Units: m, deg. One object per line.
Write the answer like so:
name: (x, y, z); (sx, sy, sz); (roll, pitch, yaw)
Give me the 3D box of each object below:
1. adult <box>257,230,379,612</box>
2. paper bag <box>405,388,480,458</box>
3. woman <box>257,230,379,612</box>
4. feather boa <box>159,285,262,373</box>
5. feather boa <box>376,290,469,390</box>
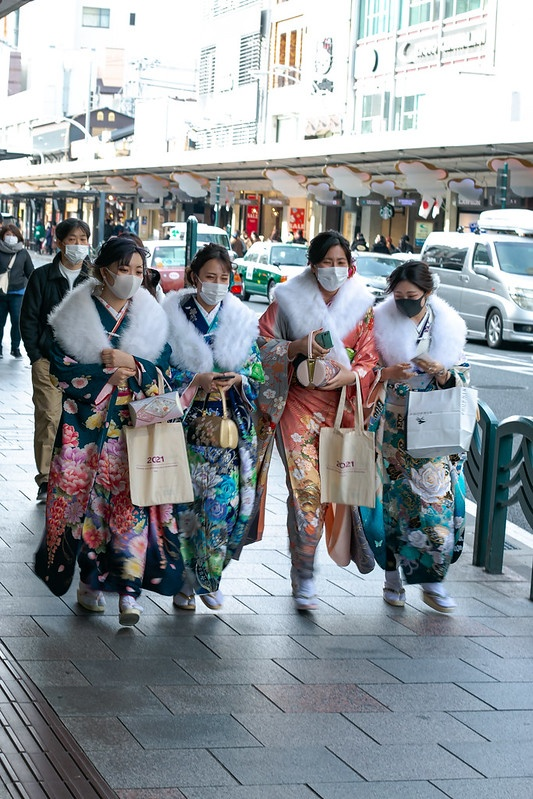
adult: (0.195, 0.093, 3.143); (0.561, 1.811, 0.379); (2, -7, 34)
paper bag: (0.808, 0.105, 3.000); (0.335, 0.297, 0.126); (-4, -32, 11)
woman: (0.195, 0.093, 3.143); (0.561, 1.811, 0.379); (2, -7, 34)
feather boa: (-0.263, -0.297, 3.025); (0.378, 0.398, 0.166); (1, -22, -6)
feather boa: (0.769, -0.326, 3.172); (0.477, 0.399, 0.287); (4, -6, 7)
